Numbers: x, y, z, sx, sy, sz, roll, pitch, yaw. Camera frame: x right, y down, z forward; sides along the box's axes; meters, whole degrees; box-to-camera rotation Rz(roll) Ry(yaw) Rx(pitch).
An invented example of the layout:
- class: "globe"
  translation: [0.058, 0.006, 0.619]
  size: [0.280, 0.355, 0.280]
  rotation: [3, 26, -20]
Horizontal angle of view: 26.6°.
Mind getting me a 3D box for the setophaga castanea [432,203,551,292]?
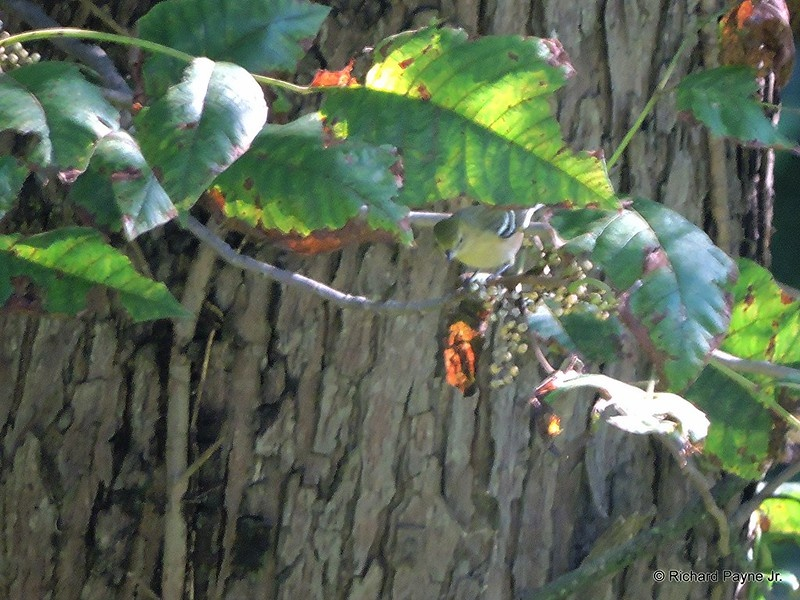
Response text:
- class: "setophaga castanea"
  translation: [0.103, -0.069, 1.954]
  size: [0.102, 0.088, 0.092]
  rotation: [5, 2, -41]
